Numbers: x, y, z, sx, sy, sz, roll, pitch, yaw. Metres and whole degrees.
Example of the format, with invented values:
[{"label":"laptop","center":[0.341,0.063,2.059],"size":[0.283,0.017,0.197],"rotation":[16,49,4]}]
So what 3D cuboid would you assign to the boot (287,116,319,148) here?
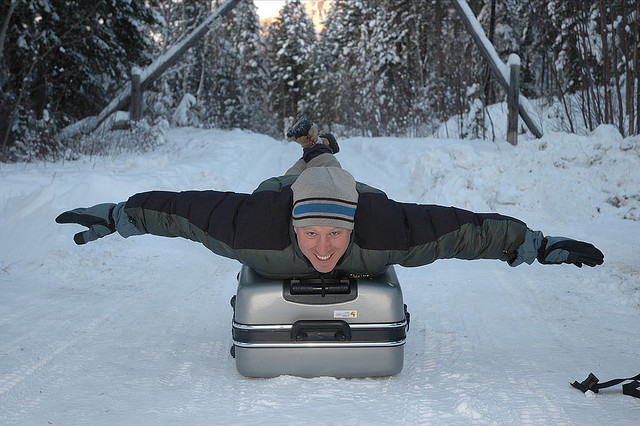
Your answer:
[{"label":"boot","center":[-0.298,-1.147,8.318],"size":[0.293,0.304,0.229],"rotation":[-41,37,-3]}]

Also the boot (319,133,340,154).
[{"label":"boot","center":[0.136,-1.075,8.769],"size":[0.286,0.298,0.639],"rotation":[4,9,-1]}]
